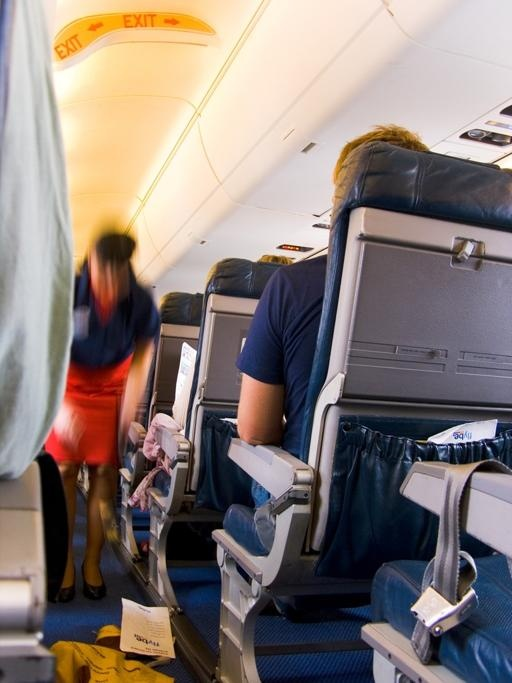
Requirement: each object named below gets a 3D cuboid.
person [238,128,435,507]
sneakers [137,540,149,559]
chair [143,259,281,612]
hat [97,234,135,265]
[{"bbox_3d":[0.274,-0.050,1.637,0.536,0.989,0.621,-3,17,-18],"label":"person"},{"bbox_3d":[-0.720,1.322,3.251,0.048,0.152,0.094,17,-22,-42],"label":"sneakers"},{"bbox_3d":[-0.279,0.584,2.811,0.922,1.543,0.931,11,17,1],"label":"chair"},{"bbox_3d":[-0.750,-0.502,2.737,0.141,0.185,0.067,4,35,-10],"label":"hat"}]
